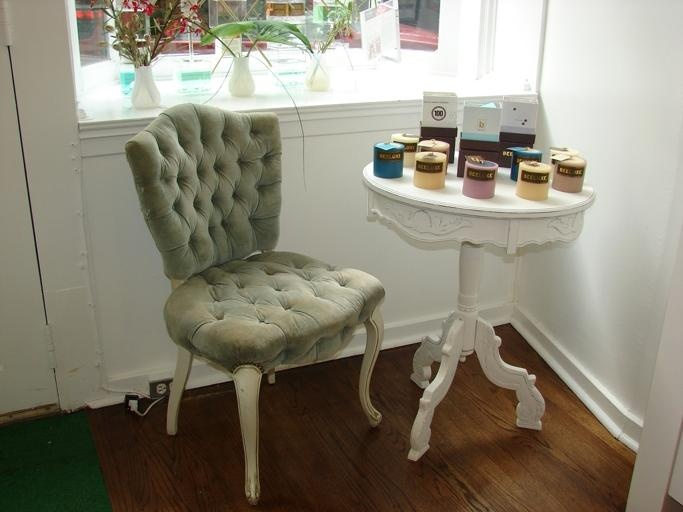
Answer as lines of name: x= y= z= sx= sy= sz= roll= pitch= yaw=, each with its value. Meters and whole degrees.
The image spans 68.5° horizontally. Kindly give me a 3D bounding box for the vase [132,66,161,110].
vase: x=-0.712 y=-0.614 z=1.830 sx=0.097 sy=0.148 sz=0.099 roll=6 pitch=17 yaw=10
